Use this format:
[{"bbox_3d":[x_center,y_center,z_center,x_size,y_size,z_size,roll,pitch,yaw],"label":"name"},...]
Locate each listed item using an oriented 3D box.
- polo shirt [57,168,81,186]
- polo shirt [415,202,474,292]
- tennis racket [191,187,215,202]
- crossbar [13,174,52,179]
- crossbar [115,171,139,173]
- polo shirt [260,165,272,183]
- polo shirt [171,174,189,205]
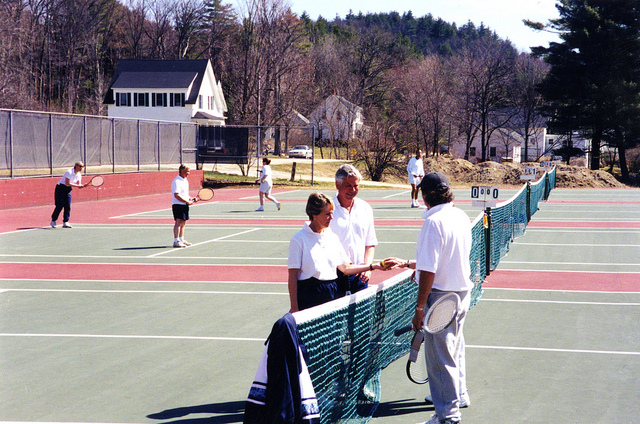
[{"bbox_3d":[-9.605,-1.370,28.669,0.415,0.666,0.857,4,5,25],"label":"polo shirt"},{"bbox_3d":[2.579,0.712,15.404,1.236,1.828,0.512,0,5,-30],"label":"polo shirt"},{"bbox_3d":[-3.993,-0.635,25.914,0.475,0.396,0.601,3,5,5],"label":"tennis racket"},{"bbox_3d":[-12.899,-1.621,33.702,0.257,0.174,2.163,5,5,24],"label":"crossbar"},{"bbox_3d":[-10.319,-2.190,40.286,0.441,0.057,1.771,4,5,11],"label":"crossbar"},{"bbox_3d":[-2.418,-1.733,33.142,0.360,0.766,0.769,2,5,0],"label":"polo shirt"},{"bbox_3d":[-4.620,-0.757,24.778,0.531,0.977,0.486,1,5,-17],"label":"polo shirt"}]
